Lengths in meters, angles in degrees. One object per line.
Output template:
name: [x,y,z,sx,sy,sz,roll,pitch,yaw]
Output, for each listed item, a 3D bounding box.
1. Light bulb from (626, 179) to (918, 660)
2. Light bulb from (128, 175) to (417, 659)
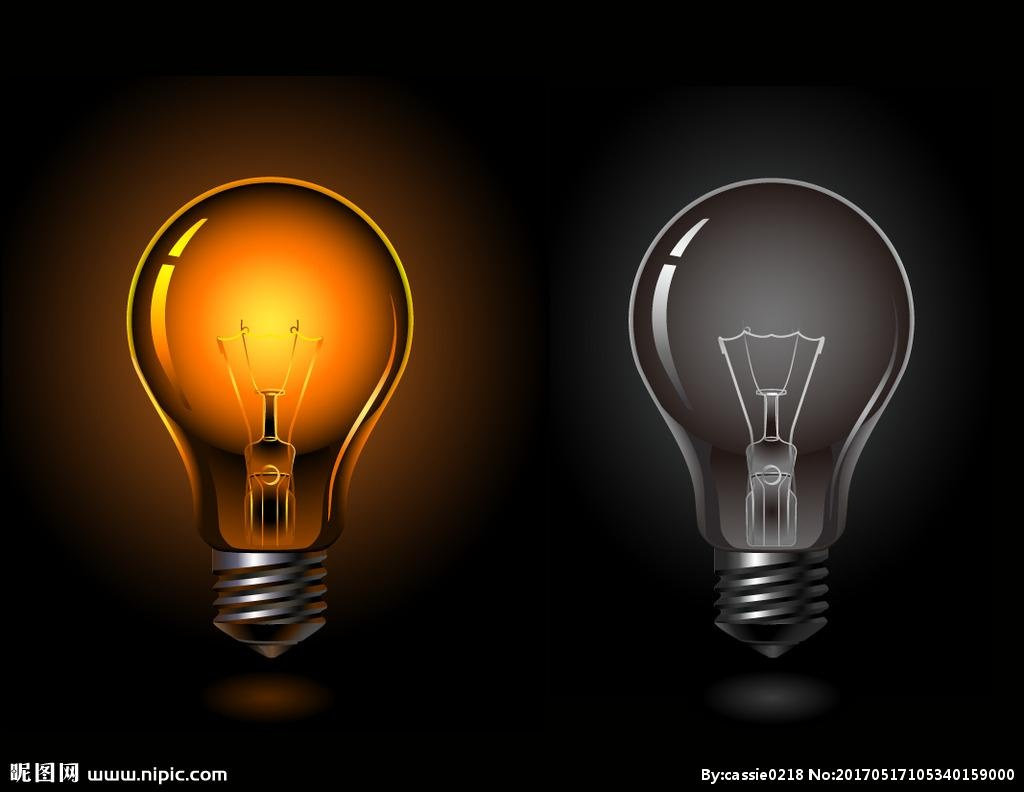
Light bulb: [0.264,0.012,1.106,0.282,0.471,0.101,0,1,13]
Light bulb: [-0.241,0.009,1.094,0.284,0.466,0.109,0,1,-16]
